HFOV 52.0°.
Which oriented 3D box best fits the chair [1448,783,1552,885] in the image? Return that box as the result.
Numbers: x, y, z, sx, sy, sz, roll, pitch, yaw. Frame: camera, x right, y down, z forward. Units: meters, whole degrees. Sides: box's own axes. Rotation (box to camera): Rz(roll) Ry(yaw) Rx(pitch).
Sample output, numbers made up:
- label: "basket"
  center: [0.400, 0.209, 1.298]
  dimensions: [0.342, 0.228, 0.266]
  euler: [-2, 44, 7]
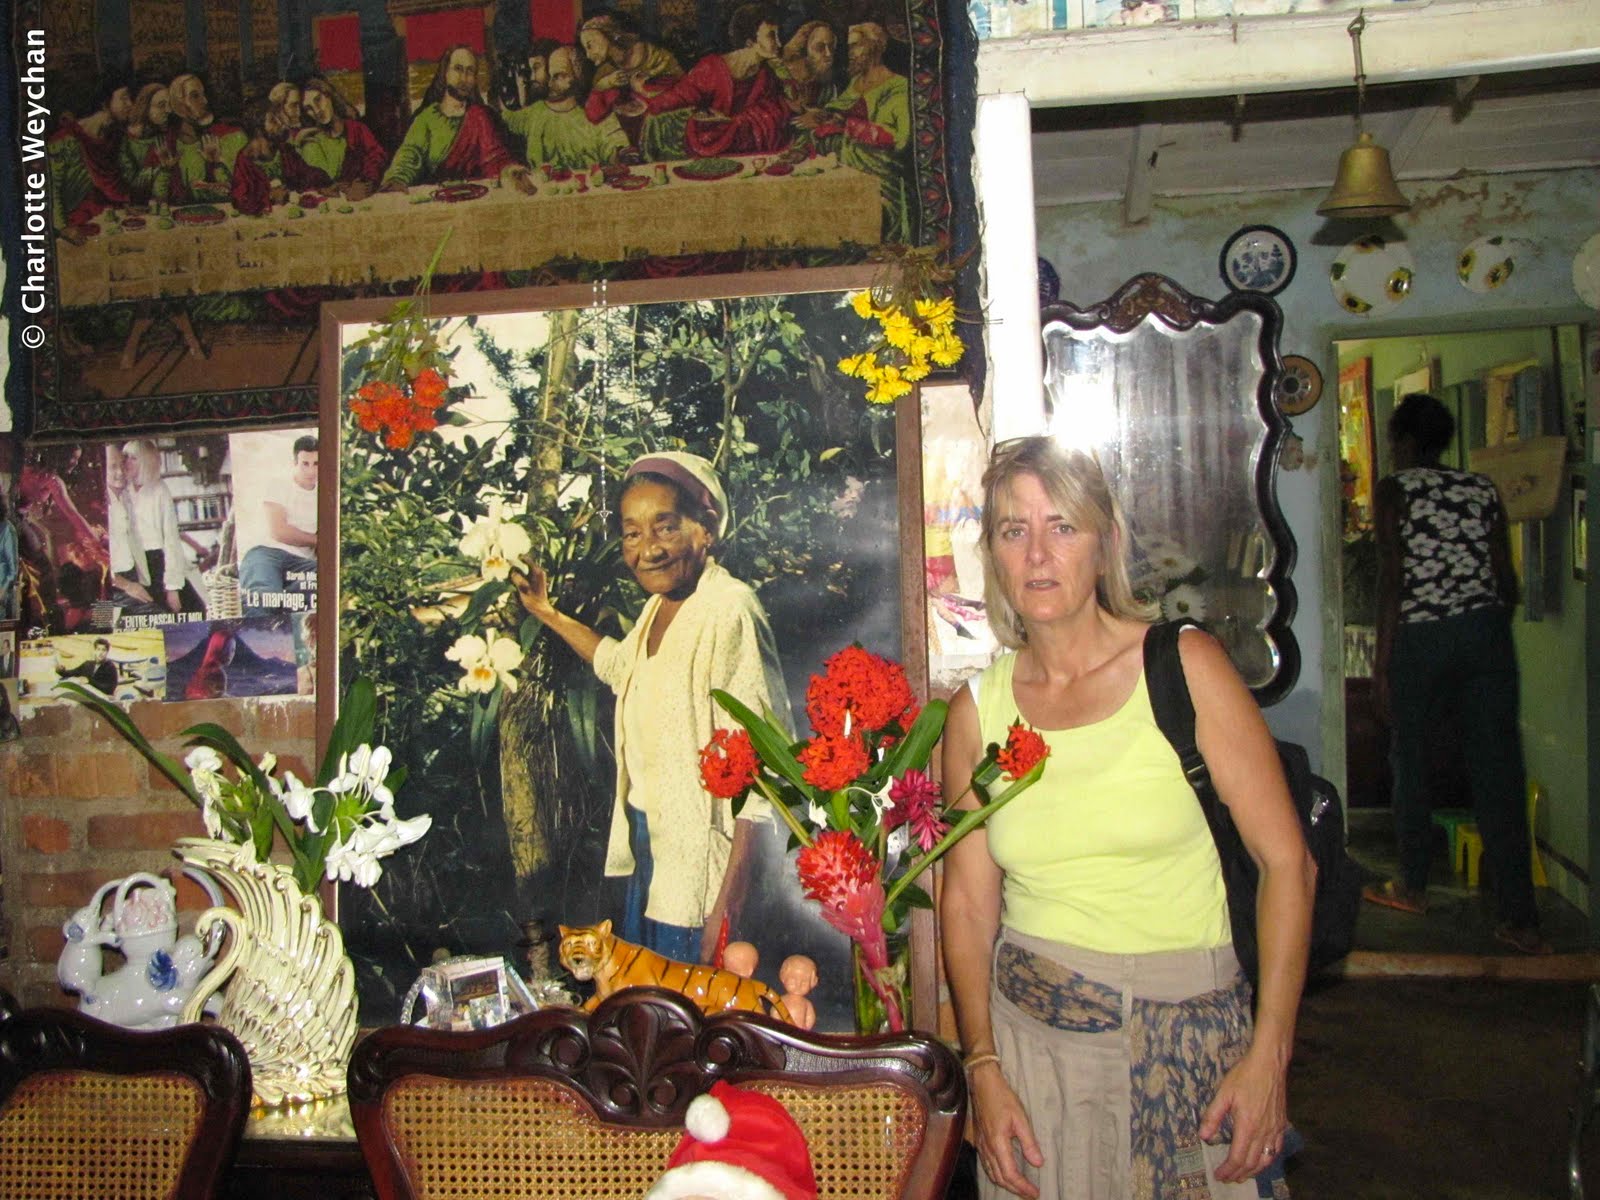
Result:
- label: "chair"
  center: [2.714, 0.936, 6.490]
  dimensions: [0.371, 0.537, 0.416]
  euler: [-1, 0, 3]

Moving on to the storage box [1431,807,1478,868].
- label: "storage box"
  center: [2.699, 0.957, 6.822]
  dimensions: [0.243, 0.242, 0.264]
  euler: [-4, 0, 19]

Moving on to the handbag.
- label: "handbag"
  center: [0.919, 0.388, 3.244]
  dimensions: [0.350, 0.695, 0.282]
  euler: [-9, -6, 5]

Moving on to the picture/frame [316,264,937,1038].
- label: "picture/frame"
  center: [-0.329, 0.147, 3.565]
  dimensions: [1.602, 2.194, 0.086]
  euler: [-1, -3, 6]

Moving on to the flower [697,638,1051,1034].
- label: "flower"
  center: [0.103, 0.409, 3.394]
  dimensions: [0.748, 0.811, 0.716]
  euler: [0, -4, -11]

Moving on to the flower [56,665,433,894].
- label: "flower"
  center: [-1.161, 0.500, 3.560]
  dimensions: [0.582, 0.387, 0.604]
  euler: [8, -4, 7]

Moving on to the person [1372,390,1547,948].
- label: "person"
  center: [2.344, 0.350, 5.842]
  dimensions: [0.547, 1.624, 0.395]
  euler: [2, 3, 31]

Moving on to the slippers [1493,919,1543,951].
- label: "slippers"
  center: [2.493, 1.178, 5.757]
  dimensions: [0.182, 0.136, 0.062]
  euler: [-15, -1, 40]
